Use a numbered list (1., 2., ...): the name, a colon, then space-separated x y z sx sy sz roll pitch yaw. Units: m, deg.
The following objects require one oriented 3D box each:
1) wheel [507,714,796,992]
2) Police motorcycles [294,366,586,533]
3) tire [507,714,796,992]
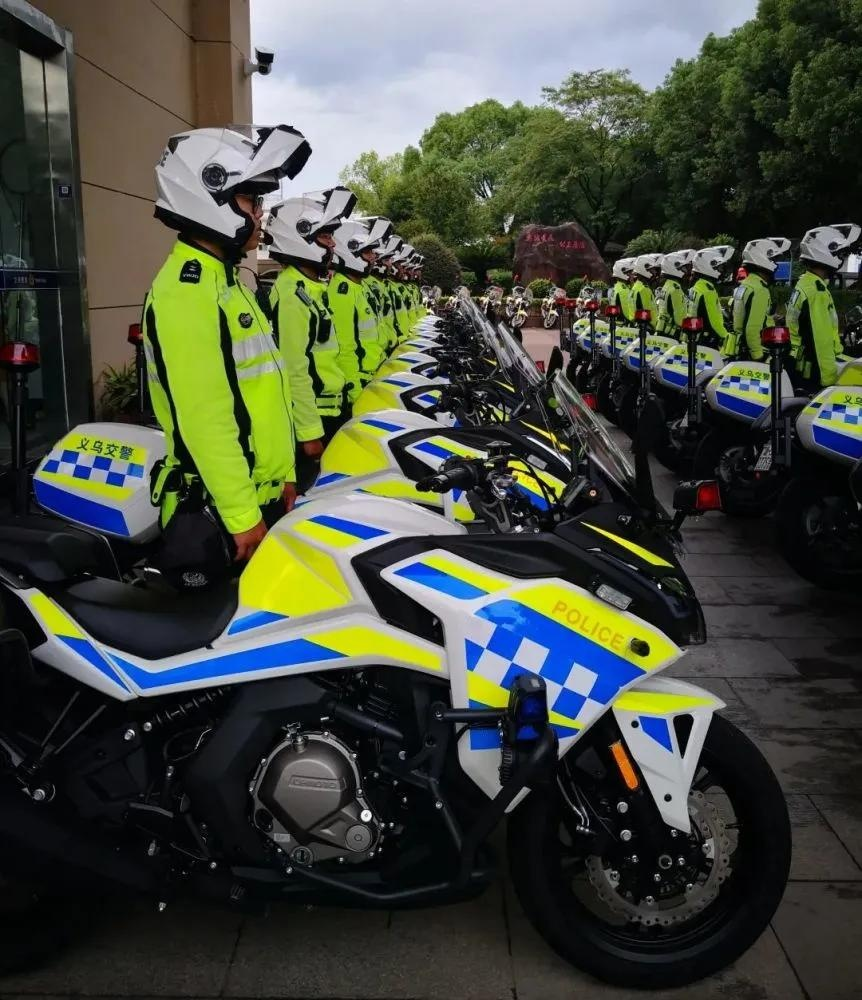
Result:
1. wheel: 0.498 0.830 1.990 0.845 0.736 0.154 0 7 1
2. Police motorcycles: 0.053 -0.299 3.467 1.122 0.573 0.652 14 46 33
3. tire: 0.498 0.830 1.990 0.845 0.736 0.154 0 7 1
